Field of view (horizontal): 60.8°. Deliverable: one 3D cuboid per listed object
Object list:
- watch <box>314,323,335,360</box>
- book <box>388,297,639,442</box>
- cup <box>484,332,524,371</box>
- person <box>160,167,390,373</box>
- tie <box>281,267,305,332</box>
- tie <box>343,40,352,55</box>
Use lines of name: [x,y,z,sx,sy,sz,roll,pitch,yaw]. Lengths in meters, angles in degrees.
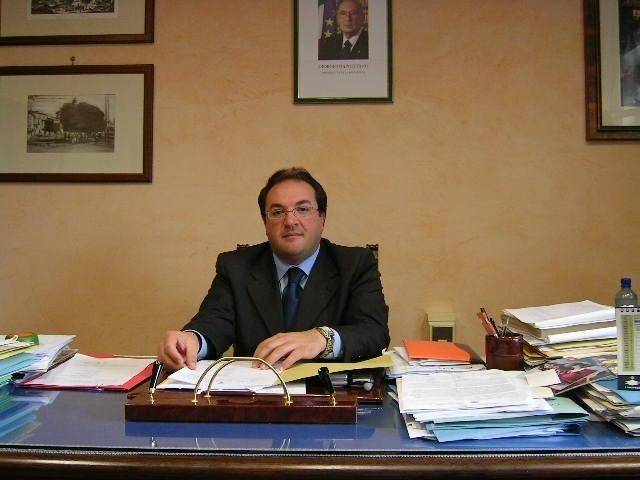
watch: [0.023,0.377,1.991,0.039,0.079,0.098,-10,39,-20]
book: [0.517,0.337,1.591,0.441,0.121,0.447,-1,4,0]
cup: [0.645,0.396,1.947,0.118,0.126,0.121,0,-6,0]
person: [-0.136,0.105,2.270,0.834,0.851,0.959,0,3,6]
tie: [-0.118,0.262,2.450,0.068,0.294,0.078,0,-37,6]
tie: [0.163,-1.150,3.299,0.059,0.078,0.026,16,8,17]
